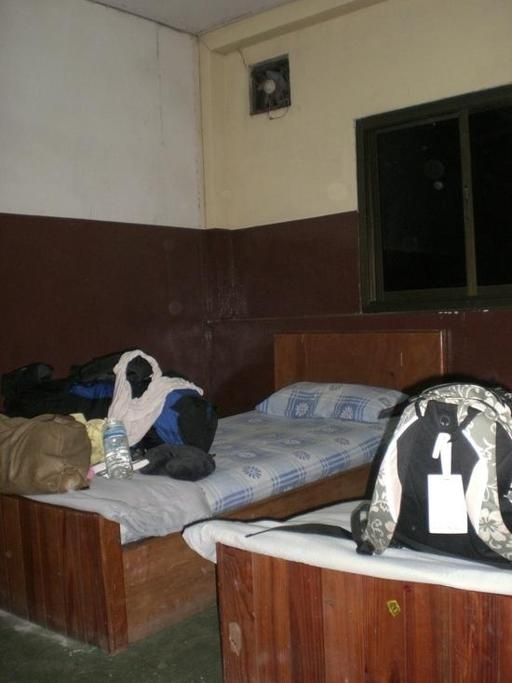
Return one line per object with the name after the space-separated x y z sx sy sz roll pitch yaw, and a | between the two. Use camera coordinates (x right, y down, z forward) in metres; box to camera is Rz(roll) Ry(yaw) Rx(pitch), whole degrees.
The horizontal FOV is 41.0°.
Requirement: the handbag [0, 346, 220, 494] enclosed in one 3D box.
-0.580 0.283 2.850 0.717 0.355 0.543 3 1 22 | handbag

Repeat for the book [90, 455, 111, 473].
-0.584 0.463 2.579 0.046 0.012 0.050 12 19 27 | book
